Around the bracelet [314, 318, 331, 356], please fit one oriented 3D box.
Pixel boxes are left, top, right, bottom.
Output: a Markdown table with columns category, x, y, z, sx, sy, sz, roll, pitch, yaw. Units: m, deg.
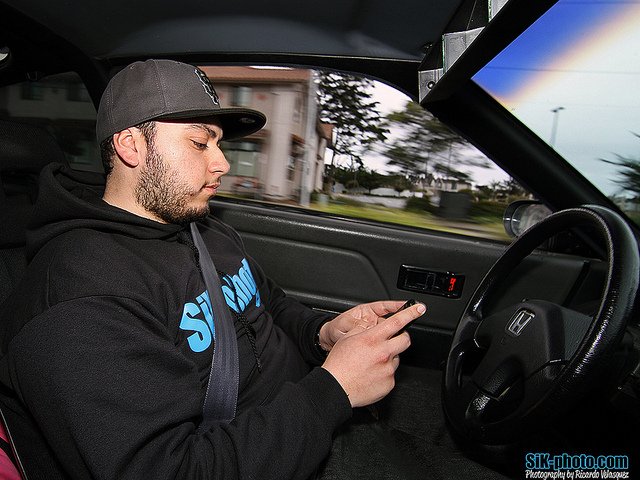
| category | x | y | z | sx | sy | sz | roll | pitch | yaw |
| --- | --- | --- | --- | --- | --- | --- | --- | --- | --- |
| bracelet | -0.004 | 0.401 | 1.802 | 0.028 | 0.106 | 0.109 | 0 | 50 | 16 |

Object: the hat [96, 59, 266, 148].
| category | x | y | z | sx | sy | sz | roll | pitch | yaw |
| --- | --- | --- | --- | --- | --- | --- | --- | --- | --- |
| hat | -0.498 | -0.498 | 1.640 | 0.578 | 0.300 | 0.388 | -7 | -2 | 7 |
